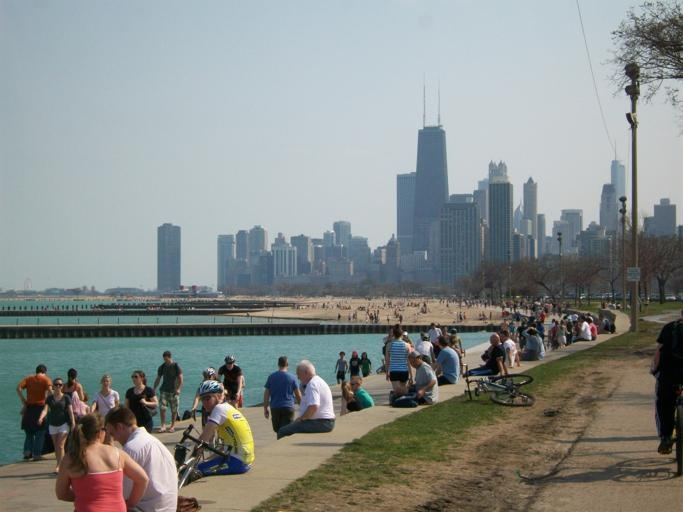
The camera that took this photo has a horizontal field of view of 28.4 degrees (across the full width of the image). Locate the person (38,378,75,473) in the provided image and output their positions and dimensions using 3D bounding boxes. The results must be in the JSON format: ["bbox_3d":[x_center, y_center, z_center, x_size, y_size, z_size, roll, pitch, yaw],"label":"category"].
[{"bbox_3d":[-12.440,7.375,58.734,1.619,3.827,1.117,1,-4,-21],"label":"person"}]

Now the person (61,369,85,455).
[{"bbox_3d":[-11.825,6.675,59.677,1.070,3.307,1.056,-2,10,-12],"label":"person"}]
